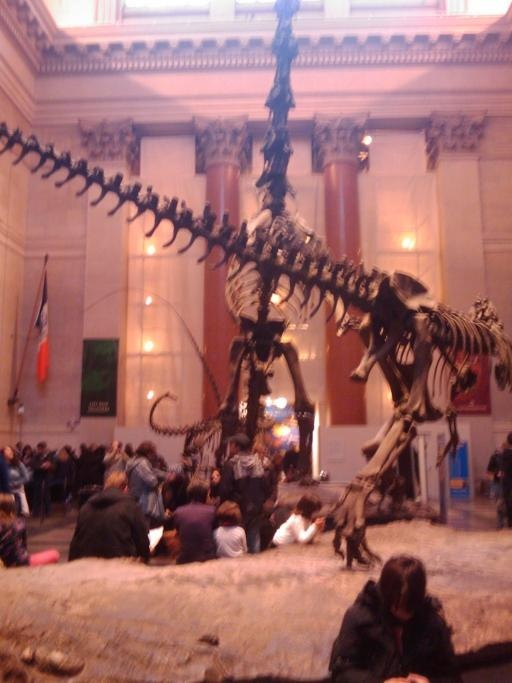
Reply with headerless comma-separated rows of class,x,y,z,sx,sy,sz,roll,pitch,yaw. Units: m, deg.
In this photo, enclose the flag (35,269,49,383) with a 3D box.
flag,-5.207,-0.414,13.877,0.346,2.861,0.464,2,-10,-18
